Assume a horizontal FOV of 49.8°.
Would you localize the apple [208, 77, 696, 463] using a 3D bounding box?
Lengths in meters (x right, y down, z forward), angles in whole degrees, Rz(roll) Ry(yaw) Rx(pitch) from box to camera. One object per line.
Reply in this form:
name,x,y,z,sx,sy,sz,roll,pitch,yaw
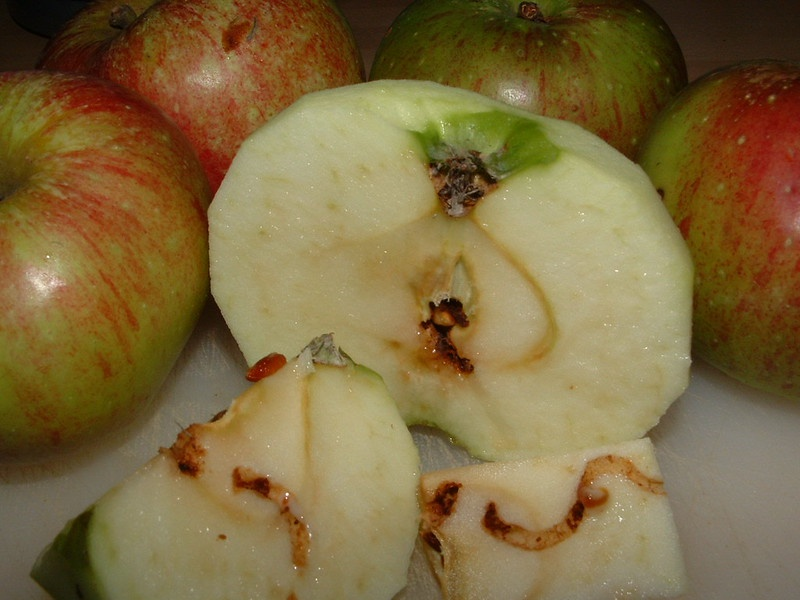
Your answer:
apple,0.037,-0.038,0.729,0.485,0.341,0.162,6,18,13
